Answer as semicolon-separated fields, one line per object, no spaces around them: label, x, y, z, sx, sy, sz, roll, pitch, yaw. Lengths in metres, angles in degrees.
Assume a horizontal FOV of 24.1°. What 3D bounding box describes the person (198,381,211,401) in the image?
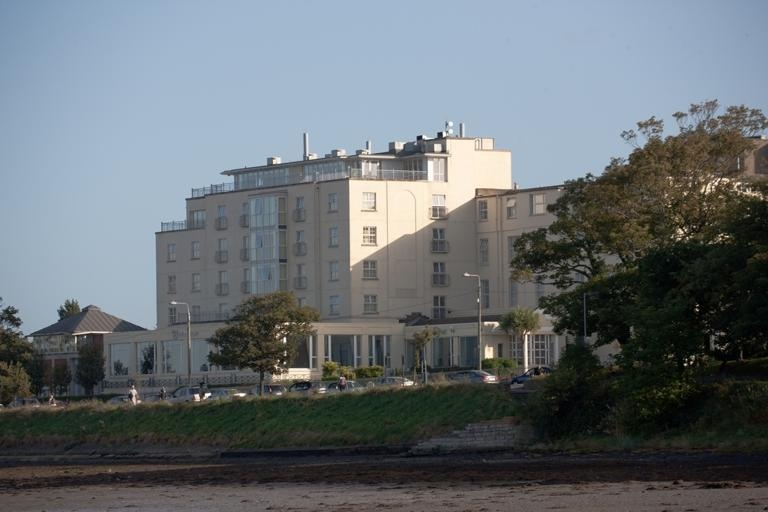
person;-14.665;11.143;148.030;1.003;0.907;1.634;0;3;-1

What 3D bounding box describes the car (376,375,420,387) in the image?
car;0.848;9.588;137.407;2.427;0.760;1.031;-8;-9;37

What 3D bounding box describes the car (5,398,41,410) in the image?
car;-30.364;12.440;152.219;2.207;0.609;1.756;-1;-3;-9

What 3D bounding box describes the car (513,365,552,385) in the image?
car;10.863;8.927;135.885;2.953;1.392;1.714;0;-6;-2

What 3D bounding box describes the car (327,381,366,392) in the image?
car;-3.177;10.057;138.444;1.897;0.841;1.147;-10;-9;30
